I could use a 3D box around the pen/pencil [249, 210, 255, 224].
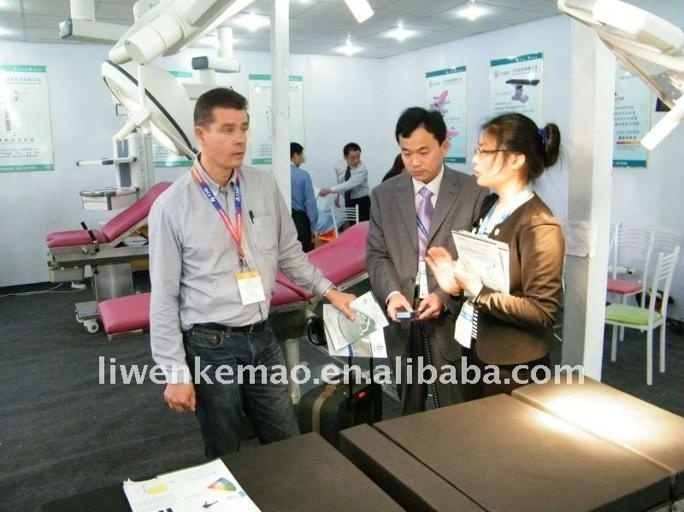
[{"bbox_3d":[-0.385,-0.165,2.034,0.016,0.060,0.024,-7,-11,-17],"label":"pen/pencil"}]

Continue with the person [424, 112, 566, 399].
[{"bbox_3d":[0.637,0.087,1.911,0.486,1.259,0.536,-4,13,-12],"label":"person"}]

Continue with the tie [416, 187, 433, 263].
[{"bbox_3d":[0.390,-0.152,2.271,0.091,0.379,0.029,-13,34,-8],"label":"tie"}]

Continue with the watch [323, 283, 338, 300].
[{"bbox_3d":[-0.055,0.160,2.153,0.063,0.044,0.065,-33,6,34],"label":"watch"}]

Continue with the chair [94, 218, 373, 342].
[{"bbox_3d":[-0.500,0.092,2.944,1.789,0.656,0.599,-2,6,-28],"label":"chair"}]

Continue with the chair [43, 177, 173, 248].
[{"bbox_3d":[-2.382,-0.339,4.787,0.980,0.436,0.354,-9,23,-37],"label":"chair"}]

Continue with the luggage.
[{"bbox_3d":[-0.013,0.867,2.720,0.317,0.496,0.502,22,31,30],"label":"luggage"}]

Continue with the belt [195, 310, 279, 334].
[{"bbox_3d":[-0.441,0.267,1.941,0.207,0.049,0.197,-1,0,-4],"label":"belt"}]
